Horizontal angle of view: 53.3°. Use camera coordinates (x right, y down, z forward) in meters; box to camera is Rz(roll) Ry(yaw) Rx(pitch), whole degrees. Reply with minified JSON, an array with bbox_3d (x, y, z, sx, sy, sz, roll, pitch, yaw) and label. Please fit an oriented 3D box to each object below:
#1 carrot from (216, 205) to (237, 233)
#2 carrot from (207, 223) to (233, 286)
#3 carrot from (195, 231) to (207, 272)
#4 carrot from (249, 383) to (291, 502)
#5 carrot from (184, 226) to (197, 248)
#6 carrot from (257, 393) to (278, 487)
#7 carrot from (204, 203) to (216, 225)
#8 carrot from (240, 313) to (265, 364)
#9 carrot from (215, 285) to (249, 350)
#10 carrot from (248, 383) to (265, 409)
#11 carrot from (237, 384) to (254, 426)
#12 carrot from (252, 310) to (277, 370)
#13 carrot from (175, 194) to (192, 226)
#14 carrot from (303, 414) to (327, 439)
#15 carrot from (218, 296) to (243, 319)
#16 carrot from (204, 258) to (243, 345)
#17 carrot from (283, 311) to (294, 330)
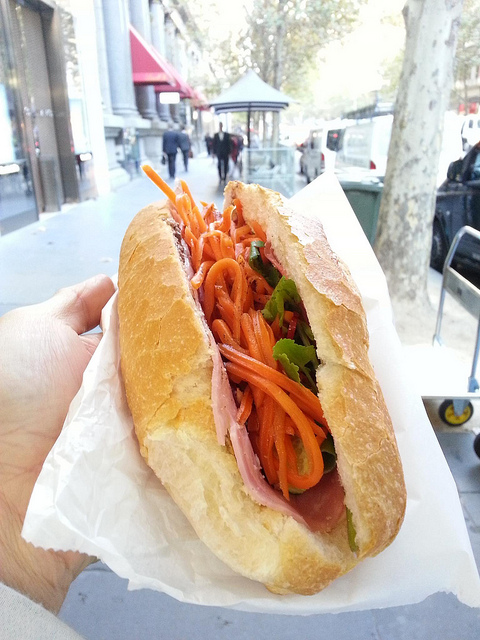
[{"bbox_3d":[-0.045,-0.348,1.657,0.036,0.038,0.142,26,50,-30],"label":"carrot"},{"bbox_3d":[-0.064,-0.227,1.545,0.060,0.254,0.050,-16,-1,-14],"label":"carrot"},{"bbox_3d":[-0.116,-0.219,1.524,0.025,0.036,0.141,3,64,13],"label":"carrot"},{"bbox_3d":[0.089,0.224,1.391,0.118,0.109,0.458,-35,12,8],"label":"carrot"},{"bbox_3d":[-0.160,-0.267,1.554,0.029,0.026,0.093,-14,60,15],"label":"carrot"},{"bbox_3d":[0.072,0.304,1.242,0.044,0.043,0.240,2,78,0],"label":"carrot"},{"bbox_3d":[-0.111,-0.400,1.824,0.025,0.030,0.094,7,66,2],"label":"carrot"},{"bbox_3d":[0.032,0.051,1.306,0.034,0.032,0.164,-7,51,-5],"label":"carrot"},{"bbox_3d":[-0.026,-0.013,1.390,0.109,0.171,0.092,-1,14,-13],"label":"carrot"},{"bbox_3d":[0.045,0.203,1.269,0.014,0.060,0.031,-9,-7,-42],"label":"carrot"},{"bbox_3d":[0.019,0.223,1.259,0.026,0.031,0.110,21,38,-4],"label":"carrot"},{"bbox_3d":[0.063,0.050,1.292,0.038,0.047,0.175,-4,49,-8],"label":"carrot"},{"bbox_3d":[-0.188,-0.376,1.607,0.042,0.029,0.142,-2,66,-24],"label":"carrot"},{"bbox_3d":[0.205,0.282,1.250,0.026,0.103,0.023,-40,21,-17],"label":"carrot"},{"bbox_3d":[-0.018,-0.038,1.409,0.016,0.041,0.070,-33,53,18],"label":"carrot"},{"bbox_3d":[-0.049,-0.061,1.449,0.122,0.325,0.032,-5,41,-5],"label":"carrot"},{"bbox_3d":[0.140,0.003,1.383,0.016,0.034,0.045,7,53,7],"label":"carrot"}]
